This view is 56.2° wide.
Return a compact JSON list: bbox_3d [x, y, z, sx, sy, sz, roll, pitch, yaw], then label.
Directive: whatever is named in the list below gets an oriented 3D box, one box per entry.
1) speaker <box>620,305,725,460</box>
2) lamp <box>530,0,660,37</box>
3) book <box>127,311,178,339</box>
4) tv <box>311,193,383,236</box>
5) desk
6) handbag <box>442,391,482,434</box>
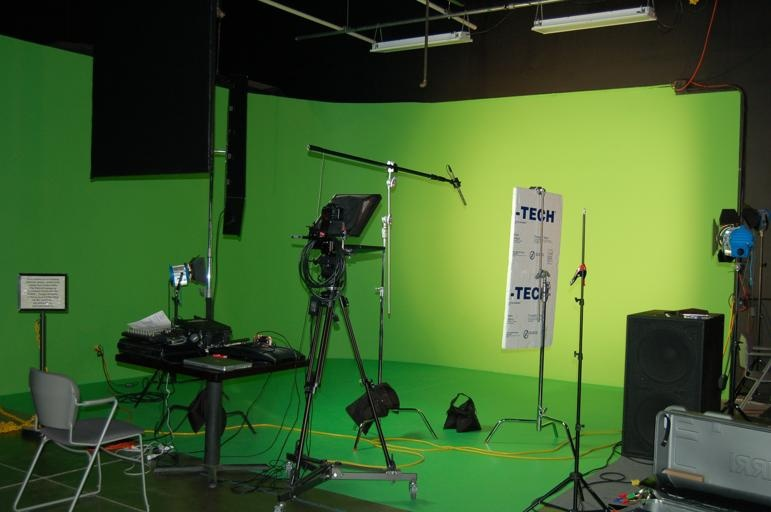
[{"bbox_3d":[3.031,1.350,7.654,0.978,1.547,0.560,1,3,17],"label":"speaker"},{"bbox_3d":[2.536,-2.913,8.842,1.384,0.196,0.428,2,3,29],"label":"lamp"},{"bbox_3d":[-2.374,0.688,7.233,0.422,0.181,0.562,0,3,-21],"label":"book"},{"bbox_3d":[-0.405,-0.400,7.034,0.650,0.419,0.368,0,3,-16],"label":"tv"},{"bbox_3d":[-1.620,1.225,7.011,1.605,1.253,1.297,-1,-2,38],"label":"desk"},{"bbox_3d":[0.903,1.839,8.497,0.445,0.487,0.440,-9,-12,40],"label":"handbag"}]
